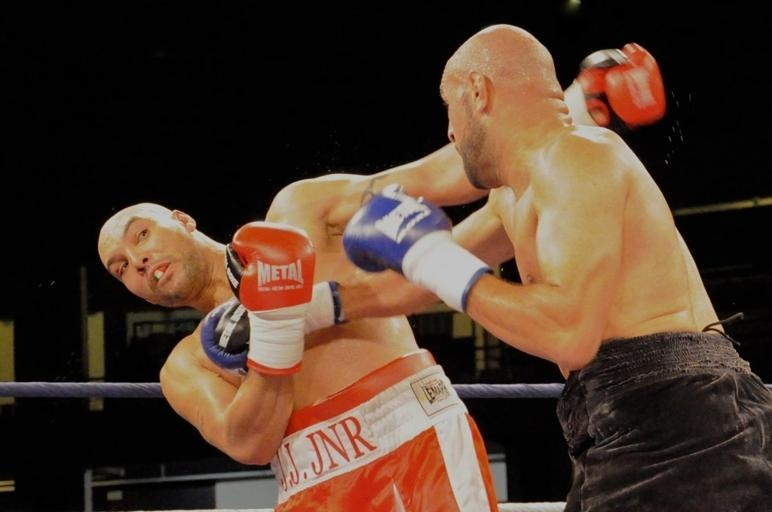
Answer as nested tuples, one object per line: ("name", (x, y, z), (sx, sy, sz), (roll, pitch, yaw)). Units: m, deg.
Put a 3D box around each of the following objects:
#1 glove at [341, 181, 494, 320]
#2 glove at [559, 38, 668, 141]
("glove", (0.141, -0.058, 5.860), (0.928, 0.370, 0.578), (30, 74, 32))
("glove", (1.566, -1.143, 6.432), (0.919, 0.668, 0.583), (3, 14, 22))
